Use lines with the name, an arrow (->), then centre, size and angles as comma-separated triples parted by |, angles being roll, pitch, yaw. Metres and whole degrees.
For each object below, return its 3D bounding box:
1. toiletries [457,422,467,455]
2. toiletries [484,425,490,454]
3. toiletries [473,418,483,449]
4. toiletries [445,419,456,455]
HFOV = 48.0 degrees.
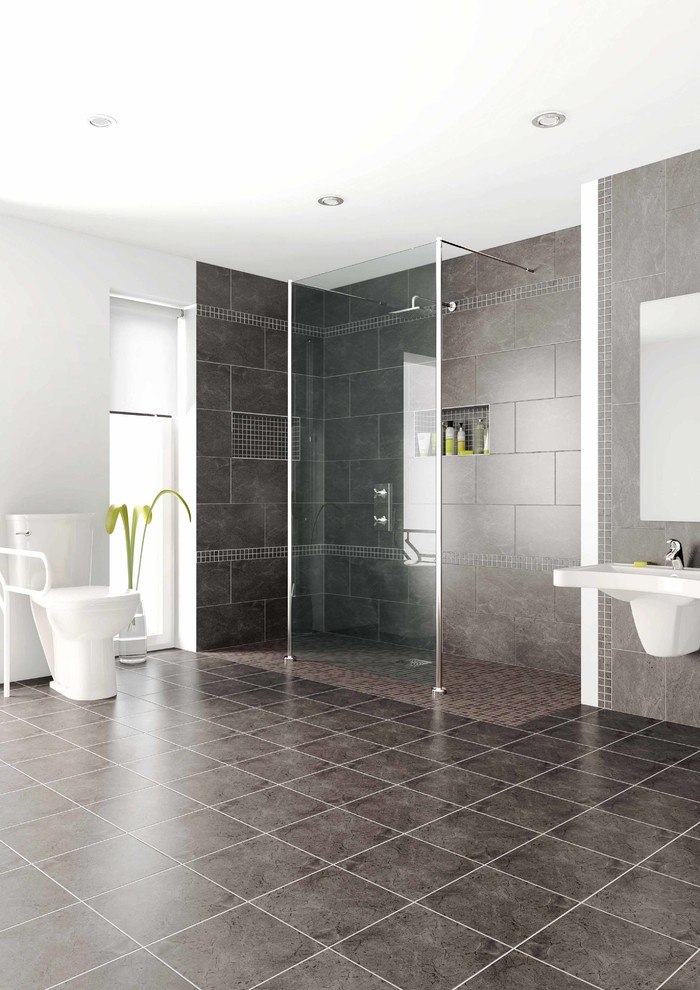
toiletries -> 0.689, -0.354, 4.850 | 0.034, 0.183, 0.054 | -1, -2, 33
toiletries -> 0.807, -0.329, 4.693 | 0.027, 0.163, 0.074 | 0, -2, 0
toiletries -> 0.769, -0.368, 4.766 | 0.020, 0.207, 0.089 | 1, -2, -32
toiletries -> 0.611, -0.341, 4.865 | 0.088, 0.186, 0.038 | -2, -2, 44
